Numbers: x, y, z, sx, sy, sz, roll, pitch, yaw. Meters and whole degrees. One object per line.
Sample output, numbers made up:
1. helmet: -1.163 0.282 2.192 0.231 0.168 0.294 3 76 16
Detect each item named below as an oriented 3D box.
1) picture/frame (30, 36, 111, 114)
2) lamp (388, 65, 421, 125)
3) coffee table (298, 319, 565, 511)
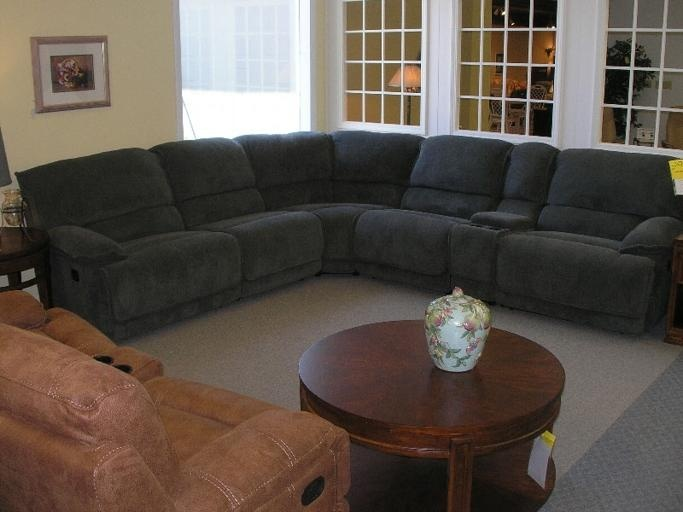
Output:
1. picture/frame: -2.128 -1.449 4.594 0.027 0.564 0.672 22 28 24
2. lamp: 0.726 -1.731 6.227 0.267 0.632 0.490 -11 19 -26
3. coffee table: 0.411 0.549 2.459 0.812 0.387 0.822 14 21 40
